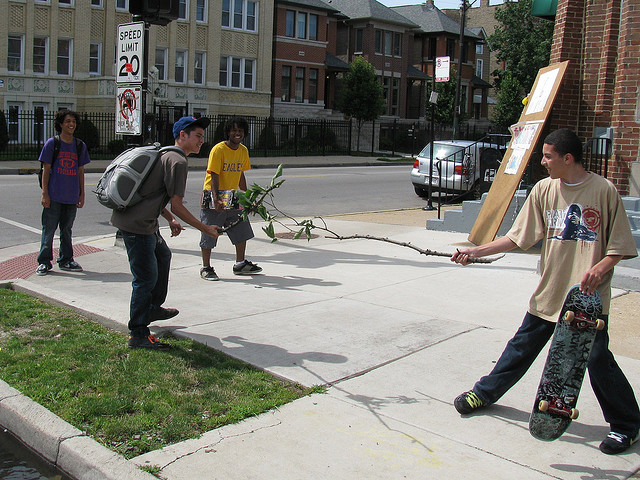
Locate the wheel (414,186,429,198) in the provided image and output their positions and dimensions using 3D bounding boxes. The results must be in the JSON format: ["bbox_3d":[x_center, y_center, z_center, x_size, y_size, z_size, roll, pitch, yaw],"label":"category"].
[{"bbox_3d":[3.608,-1.696,18.937,0.358,0.084,0.360,17,9,-3],"label":"wheel"}]

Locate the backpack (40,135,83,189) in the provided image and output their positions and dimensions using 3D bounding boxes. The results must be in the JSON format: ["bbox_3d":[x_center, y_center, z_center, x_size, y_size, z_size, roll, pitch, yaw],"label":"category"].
[{"bbox_3d":[-3.826,-1.171,7.921,0.591,0.763,0.366,-4,12,-28],"label":"backpack"}]

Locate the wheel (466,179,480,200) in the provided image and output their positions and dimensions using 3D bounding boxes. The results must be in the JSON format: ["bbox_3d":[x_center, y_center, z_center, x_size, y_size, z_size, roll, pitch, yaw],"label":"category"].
[{"bbox_3d":[5.015,-1.674,17.455,0.282,0.651,0.466,-3,12,-25],"label":"wheel"}]

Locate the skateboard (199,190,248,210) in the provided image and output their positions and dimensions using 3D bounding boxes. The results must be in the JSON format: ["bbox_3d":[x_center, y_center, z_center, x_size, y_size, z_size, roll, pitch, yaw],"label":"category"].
[{"bbox_3d":[-1.333,-0.559,7.355,0.602,0.245,0.484,4,5,27],"label":"skateboard"}]
